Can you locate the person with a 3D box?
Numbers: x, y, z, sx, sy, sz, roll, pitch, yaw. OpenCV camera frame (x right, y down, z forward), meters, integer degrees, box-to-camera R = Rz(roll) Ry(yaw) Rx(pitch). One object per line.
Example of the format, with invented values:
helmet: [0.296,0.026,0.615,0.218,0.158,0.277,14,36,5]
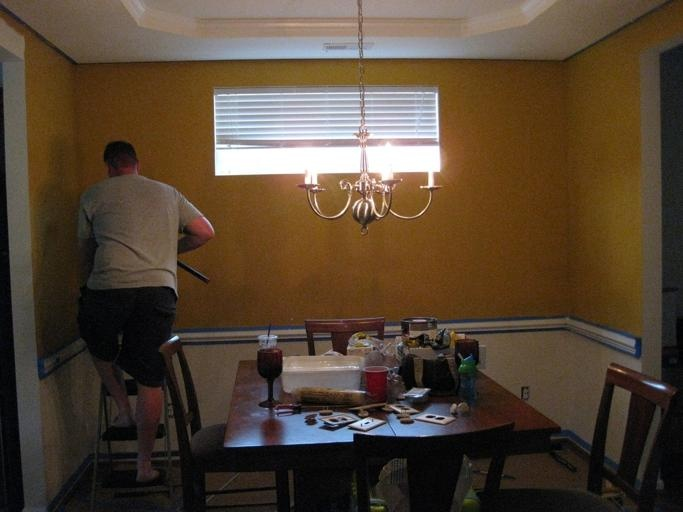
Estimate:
person: [-1.262,0.333,3.996,0.789,2.120,0.446,-2,6,-20]

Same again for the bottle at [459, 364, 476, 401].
bottle: [0.665,0.632,3.215,0.078,0.183,0.163,3,7,35]

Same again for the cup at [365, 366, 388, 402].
cup: [0.172,0.636,3.134,0.121,0.153,0.148,0,-7,-6]

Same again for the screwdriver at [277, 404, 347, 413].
screwdriver: [-0.161,0.747,3.110,0.350,0.024,0.078,-1,6,-1]

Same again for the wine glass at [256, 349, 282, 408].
wine glass: [-0.369,0.592,3.200,0.116,0.303,0.268,-1,5,-8]

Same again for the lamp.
lamp: [0.240,-0.910,4.122,1.015,1.518,1.569,-1,5,-3]
